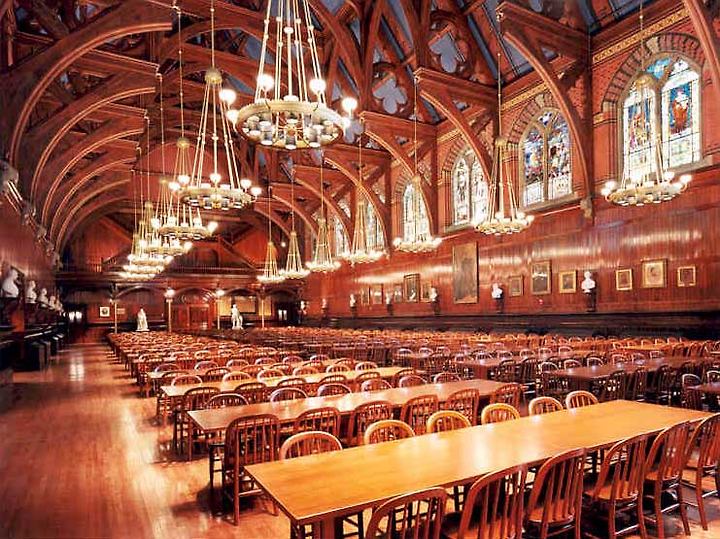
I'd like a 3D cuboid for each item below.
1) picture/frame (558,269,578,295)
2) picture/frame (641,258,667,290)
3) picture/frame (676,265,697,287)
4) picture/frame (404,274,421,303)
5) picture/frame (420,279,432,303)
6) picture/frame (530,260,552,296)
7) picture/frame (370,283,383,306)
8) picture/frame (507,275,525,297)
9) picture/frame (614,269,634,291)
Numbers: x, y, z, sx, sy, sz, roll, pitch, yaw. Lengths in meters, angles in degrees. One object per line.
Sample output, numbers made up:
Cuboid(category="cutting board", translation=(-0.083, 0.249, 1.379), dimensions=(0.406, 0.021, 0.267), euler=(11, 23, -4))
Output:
Cuboid(category="picture/frame", translation=(6.552, 0.436, 18.860), dimensions=(0.085, 0.926, 0.696), euler=(3, -3, -32))
Cuboid(category="picture/frame", translation=(8.112, 0.156, 16.514), dimensions=(0.085, 0.890, 0.698), euler=(6, -8, -28))
Cuboid(category="picture/frame", translation=(8.605, 0.209, 15.802), dimensions=(0.056, 0.626, 0.480), euler=(5, -6, -24))
Cuboid(category="picture/frame", translation=(2.317, 0.880, 26.184), dimensions=(0.159, 1.296, 1.015), euler=(4, -9, -24))
Cuboid(category="picture/frame", translation=(2.815, 0.975, 25.260), dimensions=(0.077, 1.155, 0.888), euler=(2, -1, -22))
Cuboid(category="picture/frame", translation=(5.993, 0.337, 19.778), dimensions=(0.095, 1.459, 1.011), euler=(3, -3, -26))
Cuboid(category="picture/frame", translation=(0.832, 1.267, 28.991), dimensions=(0.103, 1.273, 0.981), euler=(0, 0, -26))
Cuboid(category="picture/frame", translation=(5.406, 0.614, 20.755), dimensions=(0.081, 0.701, 0.657), euler=(5, -6, -19))
Cuboid(category="picture/frame", translation=(7.600, 0.342, 17.243), dimensions=(0.076, 0.675, 0.520), euler=(5, -8, -20))
